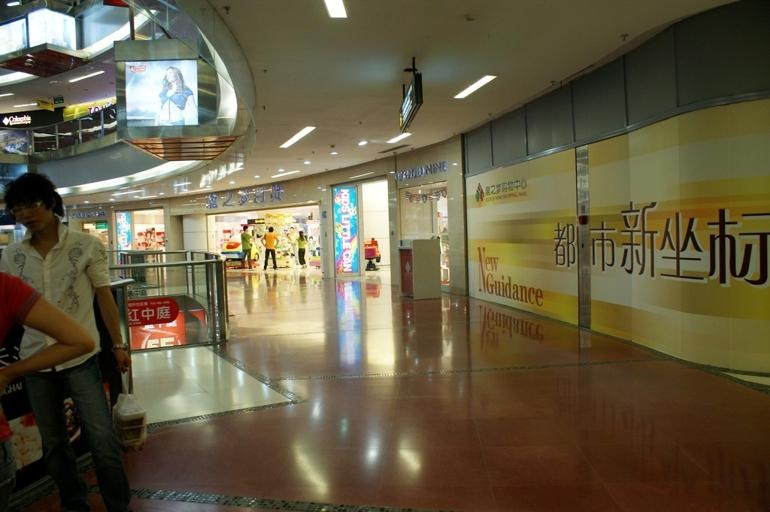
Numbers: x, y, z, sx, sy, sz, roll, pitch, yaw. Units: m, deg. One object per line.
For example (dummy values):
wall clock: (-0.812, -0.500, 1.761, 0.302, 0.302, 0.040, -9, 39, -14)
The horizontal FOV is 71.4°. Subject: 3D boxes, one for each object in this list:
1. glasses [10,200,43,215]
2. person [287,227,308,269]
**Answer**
glasses: (-2.389, -0.318, 3.544, 0.219, 0.095, 0.085, -1, 8, 4)
person: (-3.651, -0.326, 22.388, 0.725, 1.548, 2.053, -3, 9, -10)
